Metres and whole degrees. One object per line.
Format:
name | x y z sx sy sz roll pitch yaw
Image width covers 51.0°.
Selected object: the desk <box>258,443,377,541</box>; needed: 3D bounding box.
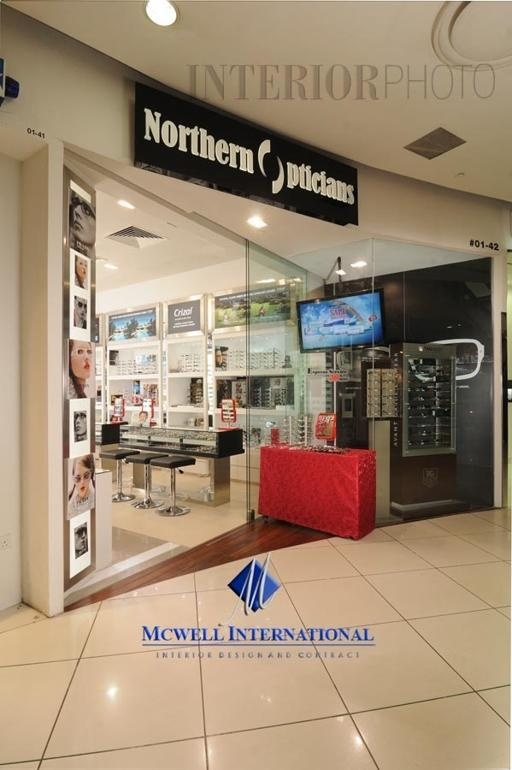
desk | 0.500 0.862 4.627 0.972 0.688 0.364 2 4 38
